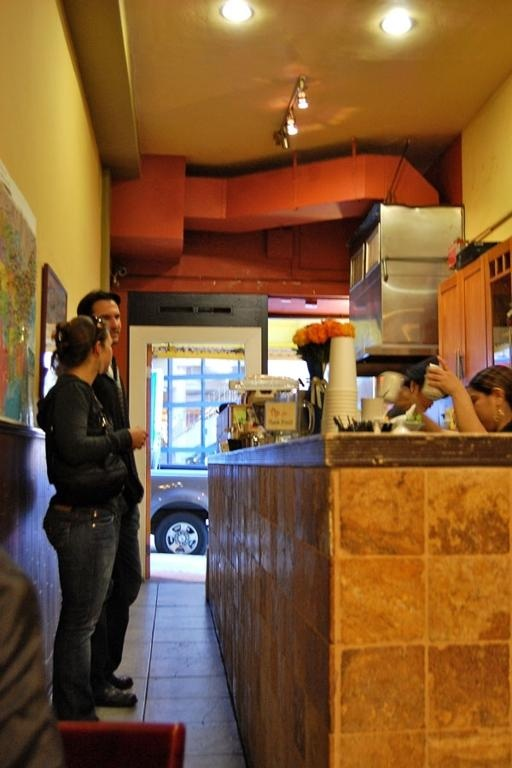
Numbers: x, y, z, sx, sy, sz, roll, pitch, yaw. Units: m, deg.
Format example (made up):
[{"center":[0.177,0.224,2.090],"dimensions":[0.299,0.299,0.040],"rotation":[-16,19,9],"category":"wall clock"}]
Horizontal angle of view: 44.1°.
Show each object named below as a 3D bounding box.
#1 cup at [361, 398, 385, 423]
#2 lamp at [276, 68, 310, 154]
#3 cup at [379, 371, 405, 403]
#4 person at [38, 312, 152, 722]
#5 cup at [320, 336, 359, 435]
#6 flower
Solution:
[{"center":[0.365,0.084,1.892],"dimensions":[0.085,0.091,0.055],"rotation":[5,-9,-31],"category":"cup"},{"center":[0.254,-2.008,4.686],"dimensions":[0.171,0.620,0.143],"rotation":[27,43,21],"category":"lamp"},{"center":[0.514,0.018,2.385],"dimensions":[0.083,0.103,0.077],"rotation":[19,-26,10],"category":"cup"},{"center":[-0.668,0.498,2.376],"dimensions":[0.348,1.337,0.770],"rotation":[1,-1,5],"category":"person"},{"center":[0.258,-0.003,1.938],"dimensions":[0.106,0.305,0.410],"rotation":[1,0,7],"category":"cup"},{"center":[0.237,-0.093,2.224],"dimensions":[0.204,0.294,0.230],"rotation":[-3,-1,15],"category":"flower"}]
